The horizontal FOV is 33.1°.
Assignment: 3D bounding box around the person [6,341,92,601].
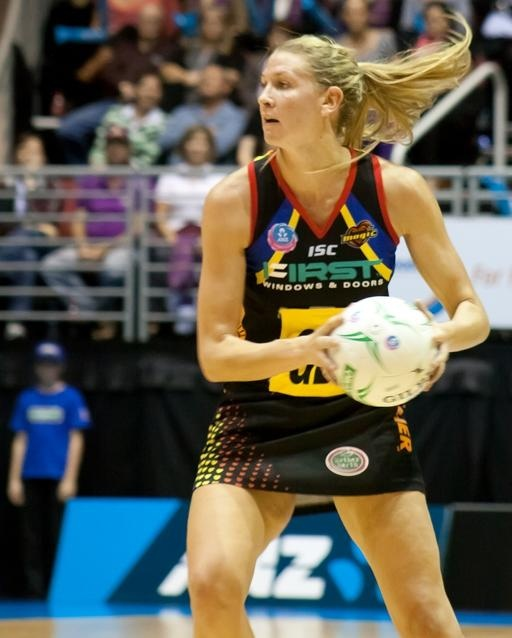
[{"bbox_3d":[-1.248,0.900,5.195,0.461,1.343,0.856,0,22,5],"label":"person"}]
